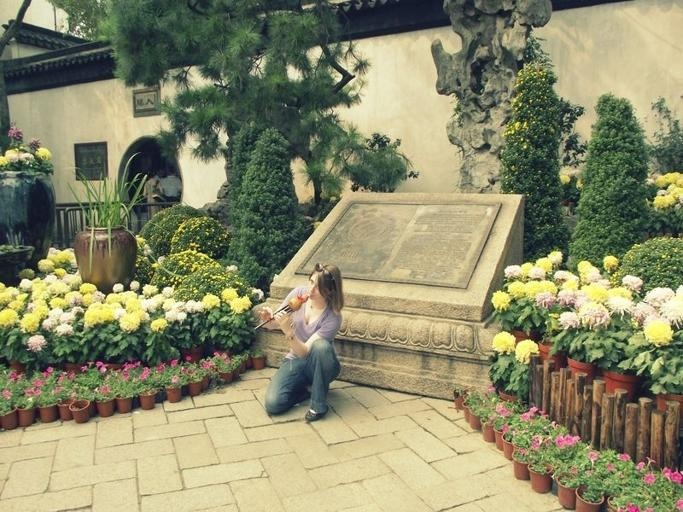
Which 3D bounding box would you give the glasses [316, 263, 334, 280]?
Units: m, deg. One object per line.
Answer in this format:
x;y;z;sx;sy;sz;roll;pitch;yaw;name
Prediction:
-0.140;0.135;5.303;0.131;0.103;0.126;29;-18;-19;glasses

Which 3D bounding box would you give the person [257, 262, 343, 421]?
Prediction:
-0.307;0.716;5.402;0.620;1.338;0.478;5;10;1;person

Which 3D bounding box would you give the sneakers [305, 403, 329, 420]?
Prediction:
-0.222;1.322;5.330;0.231;0.103;0.085;-11;20;-36;sneakers
